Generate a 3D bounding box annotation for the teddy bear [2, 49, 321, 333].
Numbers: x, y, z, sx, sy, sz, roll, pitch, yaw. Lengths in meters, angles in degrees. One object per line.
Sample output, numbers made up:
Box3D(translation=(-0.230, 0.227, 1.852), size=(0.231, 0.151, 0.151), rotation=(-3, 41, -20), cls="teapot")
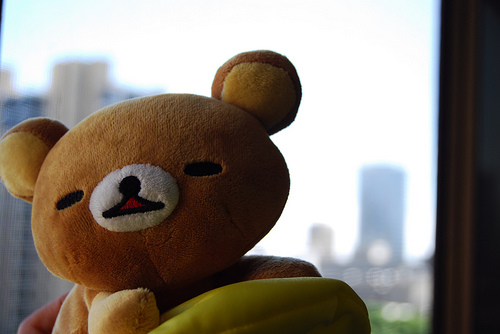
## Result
Box3D(translation=(-0.217, 0.083, 1.229), size=(0.660, 0.633, 0.329), rotation=(-22, -15, 1), cls="teddy bear")
